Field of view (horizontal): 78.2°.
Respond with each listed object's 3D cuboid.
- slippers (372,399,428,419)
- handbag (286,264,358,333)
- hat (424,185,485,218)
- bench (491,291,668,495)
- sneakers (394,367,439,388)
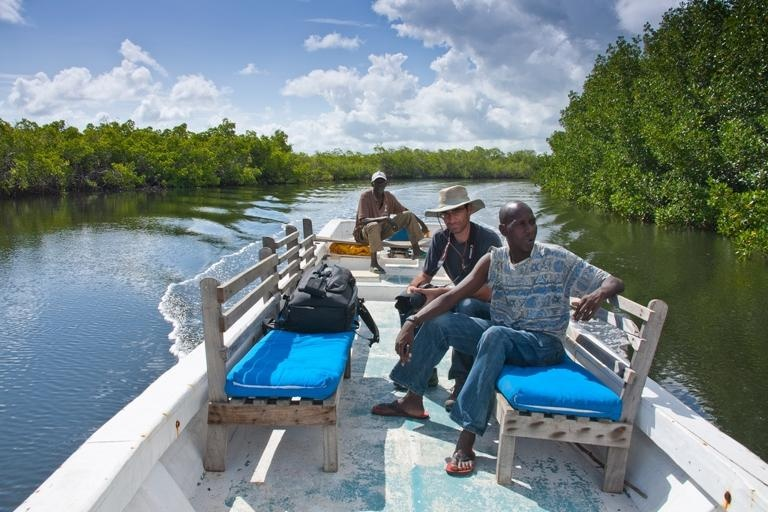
[{"bbox_3d":[0.179,1.626,5.186,0.580,0.171,0.229,6,-11,3],"label":"slippers"},{"bbox_3d":[-0.747,0.448,5.605,0.898,0.484,1.270,2,15,1],"label":"handbag"},{"bbox_3d":[0.849,-0.627,5.458,0.431,0.192,0.501,-21,-12,16],"label":"hat"},{"bbox_3d":[1.585,1.210,5.646,1.344,1.585,3.048,6,3,-7],"label":"bench"},{"bbox_3d":[0.342,1.467,5.723,0.680,0.294,0.229,1,3,-11],"label":"sneakers"}]
